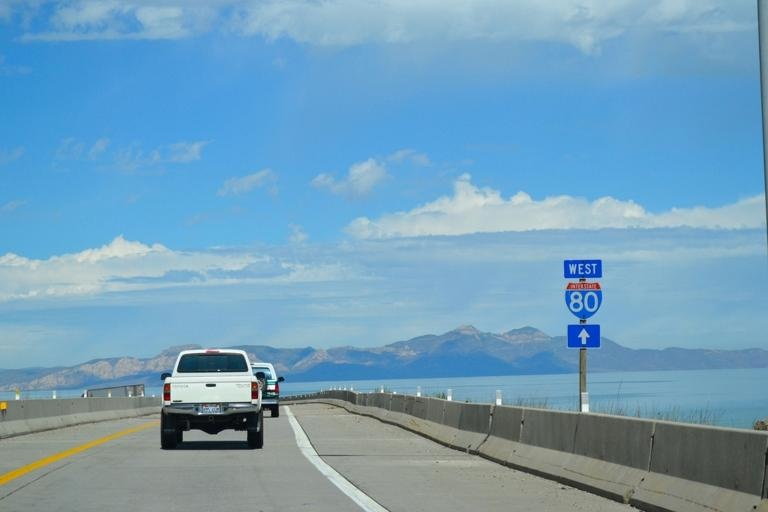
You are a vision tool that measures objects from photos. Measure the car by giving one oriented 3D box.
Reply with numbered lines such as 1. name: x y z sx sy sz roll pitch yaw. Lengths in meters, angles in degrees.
1. car: -4.563 3.744 27.476 2.617 2.602 1.128 3 -6 -11
